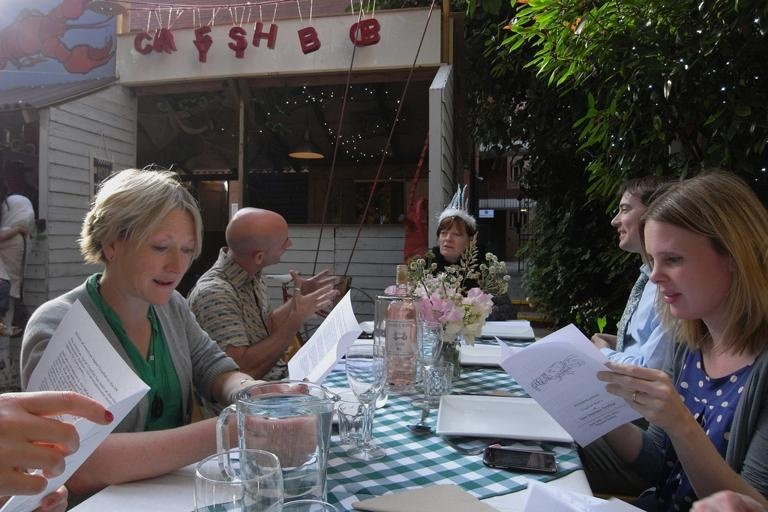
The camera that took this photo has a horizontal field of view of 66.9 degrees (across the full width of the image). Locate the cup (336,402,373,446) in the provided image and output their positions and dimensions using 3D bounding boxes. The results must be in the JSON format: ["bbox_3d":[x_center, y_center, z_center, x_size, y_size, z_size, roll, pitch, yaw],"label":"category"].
[{"bbox_3d":[-0.107,0.556,2.026,0.156,0.171,0.148,-1,-3,0],"label":"cup"}]

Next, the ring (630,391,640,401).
[{"bbox_3d":[0.797,0.445,1.852,0.030,0.031,0.007,-12,6,-25],"label":"ring"}]

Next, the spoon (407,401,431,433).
[{"bbox_3d":[0.146,0.612,2.166,0.050,0.025,0.105,-4,34,22],"label":"spoon"}]

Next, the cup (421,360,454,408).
[{"bbox_3d":[0.214,0.508,2.317,0.149,0.177,0.154,1,-5,0],"label":"cup"}]

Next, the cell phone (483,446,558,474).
[{"bbox_3d":[0.446,0.664,1.898,0.159,0.039,0.089,2,7,14],"label":"cell phone"}]

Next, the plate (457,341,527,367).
[{"bbox_3d":[0.519,0.504,2.959,0.282,0.044,0.283,-2,12,10],"label":"plate"}]

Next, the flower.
[{"bbox_3d":[0.355,0.175,2.698,0.445,0.456,0.418,9,4,3],"label":"flower"}]

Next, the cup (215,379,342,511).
[{"bbox_3d":[-0.310,0.555,1.666,0.311,0.310,0.206,-3,0,-9],"label":"cup"}]
